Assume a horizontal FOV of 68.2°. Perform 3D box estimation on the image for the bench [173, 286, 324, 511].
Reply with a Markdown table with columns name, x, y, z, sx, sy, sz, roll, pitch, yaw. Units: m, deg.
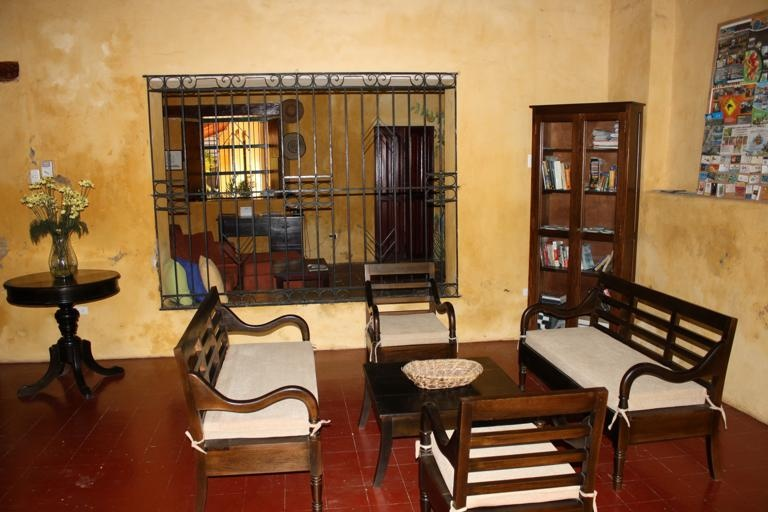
| name | x | y | z | sx | sy | sz | roll | pitch | yaw |
| --- | --- | --- | --- | --- | --- | --- | --- | --- | --- |
| bench | -1.108 | 1.182 | 4.534 | 0.794 | 0.841 | 1.509 | -1 | 12 | -9 |

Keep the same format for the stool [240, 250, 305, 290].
| name | x | y | z | sx | sy | sz | roll | pitch | yaw |
| --- | --- | --- | --- | --- | --- | --- | --- | --- | --- |
| stool | -1.566 | 0.184 | 7.621 | 0.896 | 0.579 | 0.620 | -1 | -1 | -13 |

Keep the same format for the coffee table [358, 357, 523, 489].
| name | x | y | z | sx | sy | sz | roll | pitch | yaw |
| --- | --- | --- | --- | --- | --- | --- | --- | --- | --- |
| coffee table | 0.414 | 1.118 | 4.521 | 0.953 | 0.605 | 1.216 | 0 | 5 | -12 |

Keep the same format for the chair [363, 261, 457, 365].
| name | x | y | z | sx | sy | sz | roll | pitch | yaw |
| --- | --- | --- | --- | --- | --- | --- | --- | --- | --- |
| chair | 0.243 | 0.552 | 5.595 | 0.849 | 0.891 | 1.026 | -2 | 10 | -2 |

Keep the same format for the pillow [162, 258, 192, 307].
| name | x | y | z | sx | sy | sz | roll | pitch | yaw |
| --- | --- | --- | --- | --- | --- | --- | --- | --- | --- |
| pillow | -2.382 | 0.318 | 6.534 | 0.312 | 0.551 | 0.200 | -4 | 7 | -2 |

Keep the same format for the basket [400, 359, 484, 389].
| name | x | y | z | sx | sy | sz | roll | pitch | yaw |
| --- | --- | --- | --- | --- | --- | --- | --- | --- | --- |
| basket | 0.490 | 0.943 | 4.596 | 0.392 | 0.081 | 0.293 | -2 | 10 | -3 |

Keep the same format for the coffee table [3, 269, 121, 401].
| name | x | y | z | sx | sy | sz | roll | pitch | yaw |
| --- | --- | --- | --- | --- | --- | --- | --- | --- | --- |
| coffee table | -3.178 | 0.734 | 6.193 | 1.260 | 1.291 | 1.237 | -4 | 19 | -23 |

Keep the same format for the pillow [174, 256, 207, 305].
| name | x | y | z | sx | sy | sz | roll | pitch | yaw |
| --- | --- | --- | --- | --- | --- | --- | --- | --- | --- |
| pillow | -2.266 | 0.316 | 6.624 | 0.179 | 0.577 | 0.373 | -7 | 5 | 41 |

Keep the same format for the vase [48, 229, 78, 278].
| name | x | y | z | sx | sy | sz | roll | pitch | yaw |
| --- | --- | --- | --- | --- | --- | --- | --- | --- | --- |
| vase | -3.223 | -0.009 | 5.664 | 0.232 | 0.498 | 0.263 | -8 | 13 | -31 |
